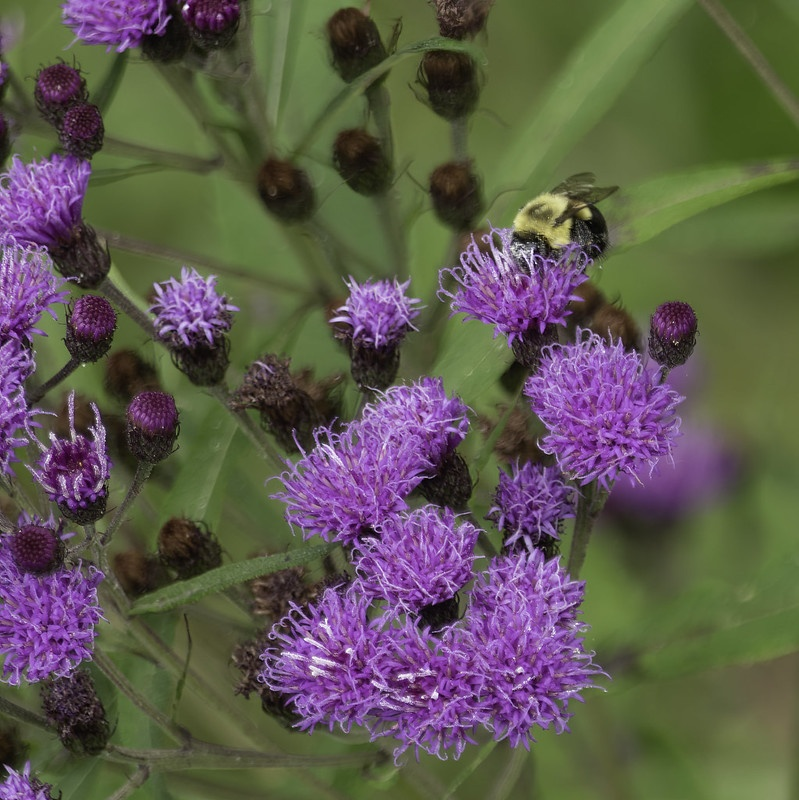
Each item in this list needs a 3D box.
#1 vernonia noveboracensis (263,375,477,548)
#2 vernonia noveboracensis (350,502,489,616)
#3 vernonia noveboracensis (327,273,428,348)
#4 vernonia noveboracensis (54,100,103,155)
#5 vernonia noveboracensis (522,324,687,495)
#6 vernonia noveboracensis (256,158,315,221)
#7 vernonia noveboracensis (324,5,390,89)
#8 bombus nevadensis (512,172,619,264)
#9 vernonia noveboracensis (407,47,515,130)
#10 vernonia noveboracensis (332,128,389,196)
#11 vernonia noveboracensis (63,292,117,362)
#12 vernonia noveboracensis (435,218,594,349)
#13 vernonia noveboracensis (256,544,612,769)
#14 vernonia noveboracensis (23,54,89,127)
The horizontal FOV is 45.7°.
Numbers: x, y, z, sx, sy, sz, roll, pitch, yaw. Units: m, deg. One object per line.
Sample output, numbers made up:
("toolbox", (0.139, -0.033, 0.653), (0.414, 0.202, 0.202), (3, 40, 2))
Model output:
("vernonia noveboracensis", (-0.042, 0.099, 1.488), (0.283, 0.158, 0.244), (-46, 3, 1))
("vernonia noveboracensis", (0.031, 0.226, 1.412), (0.169, 0.113, 0.151), (-23, 55, -1))
("vernonia noveboracensis", (-0.044, -0.153, 1.630), (0.158, 0.114, 0.164), (-5, 14, 4))
("vernonia noveboracensis", (-0.574, -0.484, 1.701), (0.077, 0.103, 0.089), (-11, 16, -16))
("vernonia noveboracensis", (0.301, 0.017, 1.480), (0.241, 0.231, 0.137), (37, 3, 10))
("vernonia noveboracensis", (-0.208, -0.371, 1.693), (0.116, 0.097, 0.033), (36, 48, 24))
("vernonia noveboracensis", (-0.082, -0.656, 1.753), (0.104, 0.147, 0.070), (0, 18, 25))
("bombus nevadensis", (0.284, -0.316, 1.705), (0.220, 0.067, 0.159), (-31, 22, -26))
("vernonia noveboracensis", (0.087, -0.574, 1.743), (0.139, 0.130, 0.052), (-5, 16, 5))
("vernonia noveboracensis", (-0.069, -0.422, 1.706), (0.097, 0.116, 0.052), (-37, -6, -46))
("vernonia noveboracensis", (-0.489, -0.110, 1.546), (0.108, 0.137, 0.097), (-1, 61, -13))
("vernonia noveboracensis", (0.184, -0.165, 1.663), (0.238, 0.160, 0.227), (-32, 48, -20))
("vernonia noveboracensis", (0.047, 0.358, 1.314), (0.373, 0.149, 0.352), (20, 60, 29))
("vernonia noveboracensis", (-0.612, -0.566, 1.748), (0.134, 0.115, 0.120), (-10, 36, -14))
